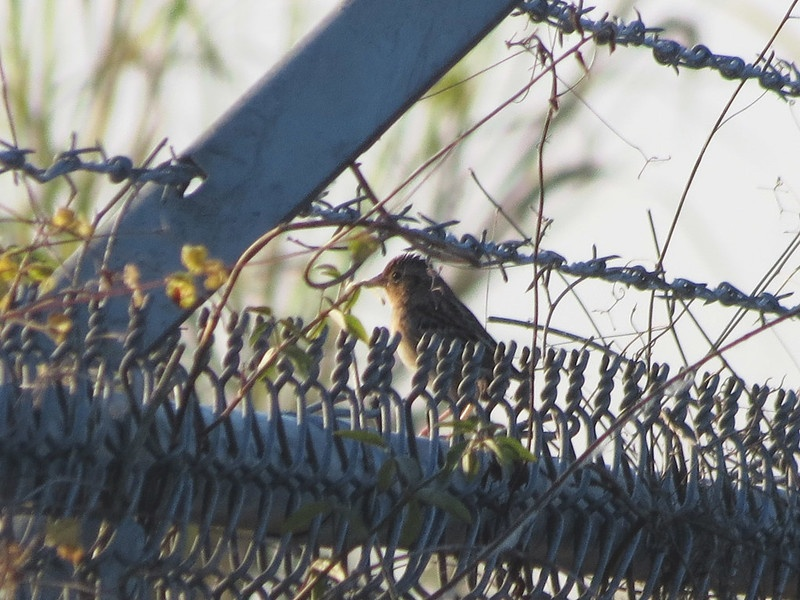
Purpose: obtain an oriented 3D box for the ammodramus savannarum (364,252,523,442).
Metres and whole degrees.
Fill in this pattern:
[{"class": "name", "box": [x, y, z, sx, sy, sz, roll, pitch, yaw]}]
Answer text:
[{"class": "ammodramus savannarum", "box": [0.228, 0.128, 9.710, 0.690, 0.536, 0.274, 8, 0, 3]}]
